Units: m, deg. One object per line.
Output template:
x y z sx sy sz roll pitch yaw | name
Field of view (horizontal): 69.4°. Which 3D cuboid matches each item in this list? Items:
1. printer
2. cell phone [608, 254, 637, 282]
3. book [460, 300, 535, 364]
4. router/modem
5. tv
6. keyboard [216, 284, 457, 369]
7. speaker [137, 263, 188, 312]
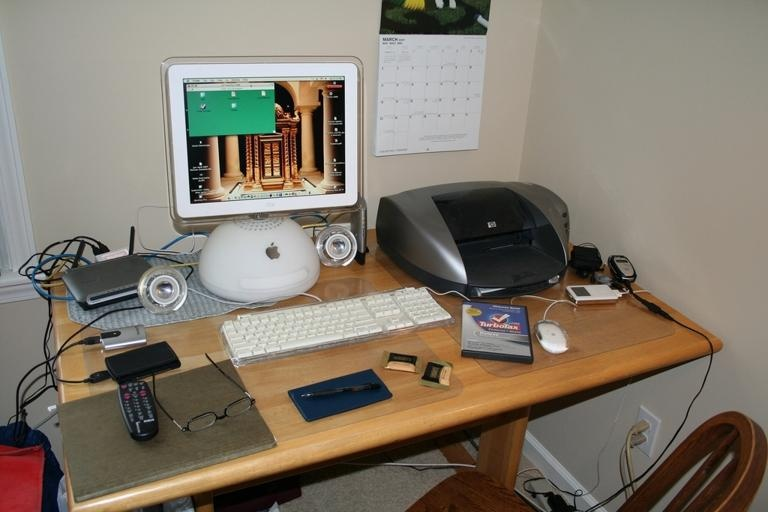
0.304 -0.060 1.706 0.474 0.152 0.376 -8 33 -19 | printer
0.744 0.041 1.718 0.059 0.033 0.100 -5 39 3 | cell phone
0.299 0.210 1.473 0.226 0.049 0.279 4 20 3 | book
-0.811 0.031 1.633 0.281 0.117 0.215 -20 30 -22 | router/modem
-0.326 -0.325 1.549 0.582 0.457 0.088 -10 24 -14 | tv
-0.199 0.074 1.618 0.846 0.133 0.464 -3 26 -21 | keyboard
-0.609 0.097 1.517 0.129 0.125 0.037 -3 1 -25 | speaker
